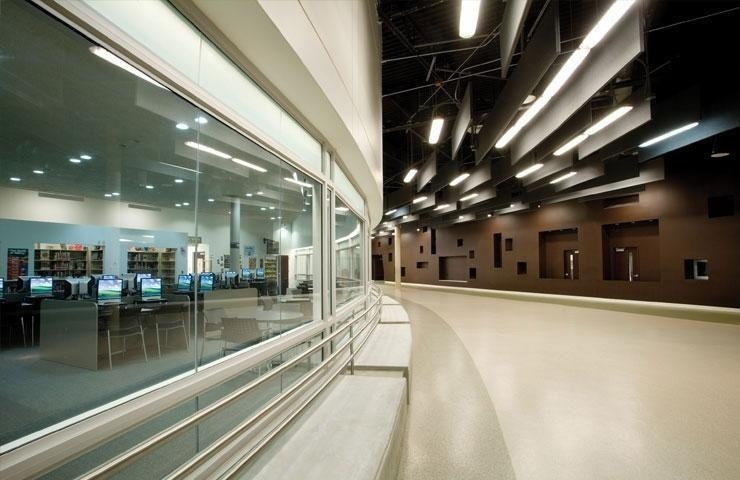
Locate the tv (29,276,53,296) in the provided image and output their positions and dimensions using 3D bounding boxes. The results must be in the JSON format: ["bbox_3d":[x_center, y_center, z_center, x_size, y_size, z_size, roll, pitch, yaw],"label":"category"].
[{"bbox_3d":[-4.020,0.555,6.015,0.137,0.240,0.261,4,1,41],"label":"tv"}]

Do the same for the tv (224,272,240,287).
[{"bbox_3d":[-2.280,0.663,8.212,0.265,0.247,0.266,-3,-11,8],"label":"tv"}]

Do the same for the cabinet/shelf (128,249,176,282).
[{"bbox_3d":[-2.745,0.307,6.256,0.503,0.441,0.155,0,-2,-11],"label":"cabinet/shelf"}]

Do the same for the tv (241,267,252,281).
[{"bbox_3d":[-2.089,0.600,8.370,0.180,0.187,0.366,-1,-6,-15],"label":"tv"}]

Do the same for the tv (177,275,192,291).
[{"bbox_3d":[-2.638,0.604,7.045,0.162,0.299,0.308,2,-5,-30],"label":"tv"}]

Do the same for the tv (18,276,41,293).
[{"bbox_3d":[-3.949,0.473,5.744,0.193,0.314,0.351,5,-6,-26],"label":"tv"}]
